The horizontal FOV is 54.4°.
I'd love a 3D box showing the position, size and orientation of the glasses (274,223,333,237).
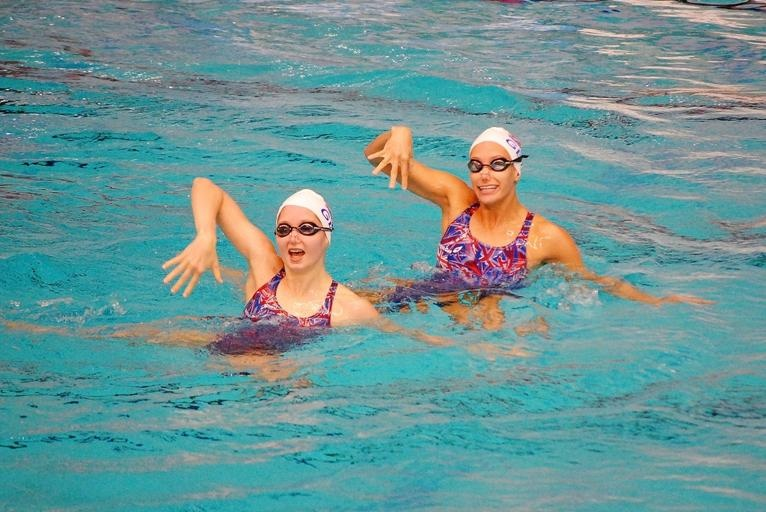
[{"bbox_3d":[-0.588,-0.183,5.227,0.318,0.123,0.089,7,15,-3],"label":"glasses"}]
